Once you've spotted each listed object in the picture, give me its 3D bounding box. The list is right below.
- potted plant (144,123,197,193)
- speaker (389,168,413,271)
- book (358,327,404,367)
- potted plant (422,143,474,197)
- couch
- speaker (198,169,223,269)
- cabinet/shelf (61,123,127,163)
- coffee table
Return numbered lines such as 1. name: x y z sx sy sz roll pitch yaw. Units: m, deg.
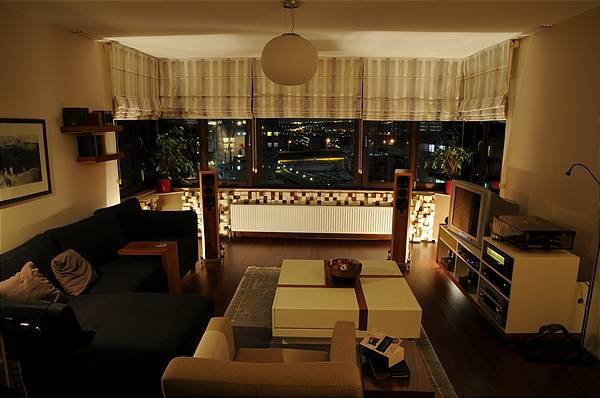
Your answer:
1. potted plant: -2.216 -0.715 7.399 0.655 1.119 0.750 3 14 11
2. speaker: 1.477 0.312 6.154 0.287 1.439 0.406 4 14 14
3. book: 0.746 1.262 3.765 0.247 0.232 0.347 -13 19 -37
4. potted plant: 2.444 -0.446 7.062 0.806 0.948 0.866 2 13 10
5. couch: -1.967 1.022 4.494 1.518 0.953 2.301 0 19 -4
6. speaker: -1.325 0.284 6.250 0.282 1.418 0.324 -3 14 -12
7. cabinet/shelf: -2.693 -0.708 5.551 0.307 0.546 0.788 5 14 18
8. coffee table: 0.509 1.147 4.587 1.062 0.286 1.085 0 15 1
